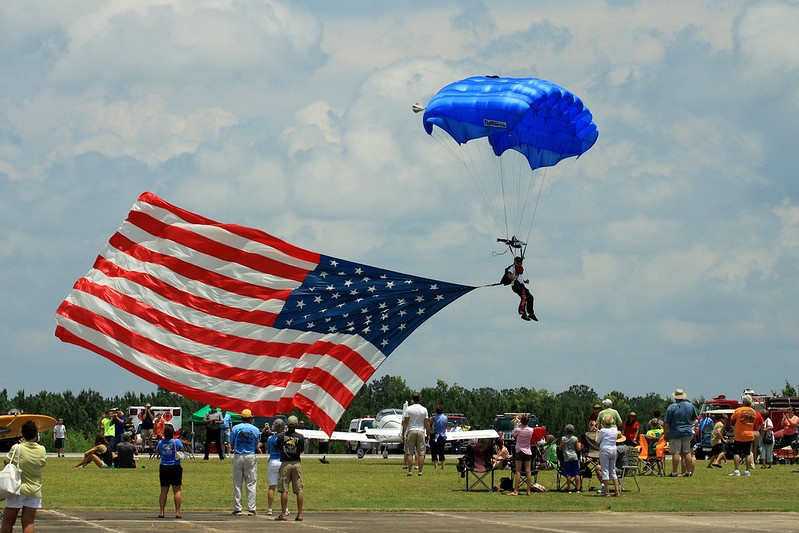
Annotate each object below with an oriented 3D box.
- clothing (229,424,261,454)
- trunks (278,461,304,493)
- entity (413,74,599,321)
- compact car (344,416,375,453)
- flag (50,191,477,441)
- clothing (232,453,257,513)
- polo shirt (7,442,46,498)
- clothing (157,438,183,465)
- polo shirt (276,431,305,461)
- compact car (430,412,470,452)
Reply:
[{"bbox_3d":[-4.286,4.818,39.192,0.731,0.950,0.444,3,-15,-10],"label":"clothing"},{"bbox_3d":[-2.983,5.847,38.567,0.637,0.887,0.662,2,-14,-5],"label":"trunks"},{"bbox_3d":[4.285,-2.528,50.257,6.052,7.827,5.703,2,5,35],"label":"entity"},{"bbox_3d":[-1.788,8.024,66.663,1.548,1.317,2.345,2,-15,-12],"label":"compact car"},{"bbox_3d":[-5.681,0.987,46.965,13.035,7.332,2.856,14,-47,39],"label":"flag"},{"bbox_3d":[-4.288,6.070,39.029,0.598,1.654,0.688,1,-15,0],"label":"clothing"},{"bbox_3d":[-9.370,5.091,35.155,0.829,1.369,0.352,1,-15,-3],"label":"polo shirt"},{"bbox_3d":[-6.363,5.167,38.885,0.618,0.800,0.569,4,-15,-12],"label":"clothing"},{"bbox_3d":[-2.989,5.009,38.782,0.764,0.852,0.415,6,-16,-20],"label":"polo shirt"},{"bbox_3d":[2.811,7.845,66.423,2.048,1.854,3.277,0,-13,-1],"label":"compact car"}]
